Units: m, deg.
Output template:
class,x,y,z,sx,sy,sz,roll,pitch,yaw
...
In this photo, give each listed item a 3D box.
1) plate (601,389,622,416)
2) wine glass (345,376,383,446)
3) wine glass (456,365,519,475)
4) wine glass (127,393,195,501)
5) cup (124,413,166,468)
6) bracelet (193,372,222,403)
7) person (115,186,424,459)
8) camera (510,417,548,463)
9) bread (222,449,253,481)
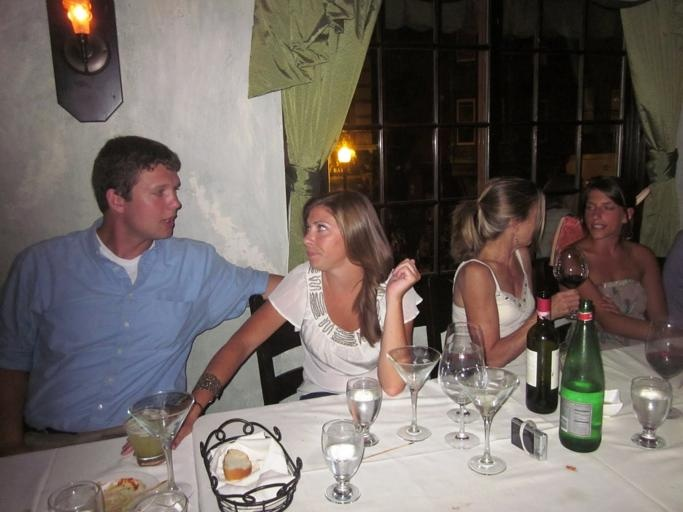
class,x,y,z,sx,sy,sz,roll,pitch,yaw
plate,0.978,0.527,1.938,0.076,0.038,0.093,-5,25,14
wine glass,0.078,0.527,1.883,0.158,0.281,0.183,0,20,4
wine glass,0.407,0.527,1.810,0.253,0.332,0.251,1,9,-3
wine glass,-0.579,0.617,1.722,0.159,0.308,0.197,6,16,11
cup,-0.643,0.620,1.845,0.129,0.168,0.167,1,2,-2
bracelet,-0.556,0.542,2.262,0.086,0.088,0.112,3,13,13
person,-0.071,0.186,2.481,0.746,0.747,1.211,10,22,37
camera,0.620,0.600,1.793,0.050,0.112,0.152,-14,11,-21
bread,-0.324,0.648,1.669,0.072,0.078,0.075,-2,2,31
